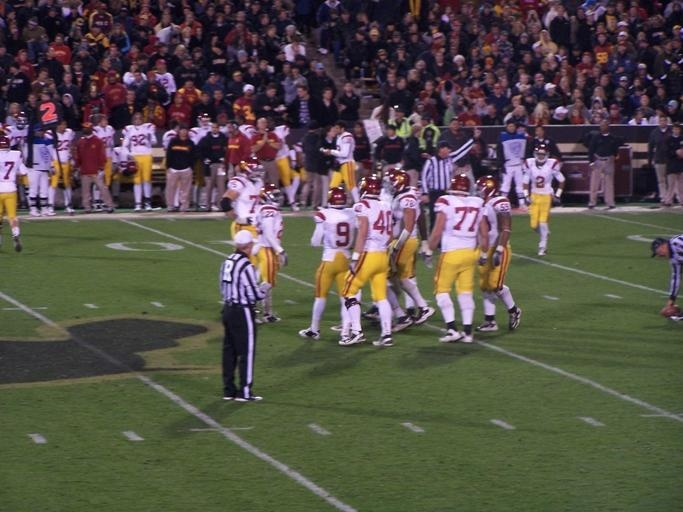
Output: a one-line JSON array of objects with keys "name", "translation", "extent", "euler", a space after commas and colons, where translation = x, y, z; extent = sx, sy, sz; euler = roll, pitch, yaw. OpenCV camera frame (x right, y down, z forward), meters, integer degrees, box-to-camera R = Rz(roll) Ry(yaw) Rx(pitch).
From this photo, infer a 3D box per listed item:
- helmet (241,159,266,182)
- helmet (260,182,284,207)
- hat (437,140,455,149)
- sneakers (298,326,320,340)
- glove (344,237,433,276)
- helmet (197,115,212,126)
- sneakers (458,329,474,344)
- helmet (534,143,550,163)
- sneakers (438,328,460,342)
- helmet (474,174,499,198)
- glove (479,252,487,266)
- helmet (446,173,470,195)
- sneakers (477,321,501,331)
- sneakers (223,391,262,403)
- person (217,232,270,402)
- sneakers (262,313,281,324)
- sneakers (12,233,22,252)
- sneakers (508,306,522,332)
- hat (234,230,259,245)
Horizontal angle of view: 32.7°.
[{"name": "helmet", "translation": [-1.218, -1.158, 15.626], "extent": [0.279, 0.314, 0.302], "euler": [0, 2, -5]}, {"name": "helmet", "translation": [-0.925, -0.803, 15.244], "extent": [0.441, 0.245, 0.310], "euler": [3, 9, 6]}, {"name": "hat", "translation": [1.732, -1.838, 19.136], "extent": [0.337, 0.109, 0.188], "euler": [2, 9, 3]}, {"name": "sneakers", "translation": [-0.447, 0.982, 14.845], "extent": [0.322, 0.150, 0.208], "euler": [0, 2, 14]}, {"name": "glove", "translation": [0.717, 0.002, 15.218], "extent": [0.672, 0.372, 0.226], "euler": [-24, 46, -14]}, {"name": "helmet", "translation": [-2.703, -2.647, 22.714], "extent": [0.300, 0.203, 0.277], "euler": [-6, 14, -43]}, {"name": "sneakers", "translation": [1.571, 1.013, 14.732], "extent": [0.156, 0.154, 0.149], "euler": [0, 2, 1]}, {"name": "helmet", "translation": [3.348, -1.714, 19.526], "extent": [0.243, 0.337, 0.423], "euler": [0, 2, 9]}, {"name": "sneakers", "translation": [1.369, 1.000, 14.764], "extent": [0.282, 0.178, 0.185], "euler": [0, 2, 15]}, {"name": "helmet", "translation": [1.941, -0.917, 15.176], "extent": [0.381, 0.281, 0.254], "euler": [-23, 8, 11]}, {"name": "glove", "translation": [1.795, 0.024, 14.880], "extent": [0.110, 0.157, 0.215], "euler": [0, 2, 7]}, {"name": "helmet", "translation": [1.505, -0.917, 14.794], "extent": [0.230, 0.247, 0.277], "euler": [0, 2, 4]}, {"name": "sneakers", "translation": [1.913, 0.924, 15.313], "extent": [0.364, 0.103, 0.106], "euler": [-2, 9, -13]}, {"name": "sneakers", "translation": [-1.093, 1.549, 12.776], "extent": [0.426, 0.106, 0.115], "euler": [0, 0, 3]}, {"name": "person", "translation": [-1.100, 0.652, 12.738], "extent": [0.481, 1.874, 0.492], "euler": [0, 2, -5]}, {"name": "sneakers", "translation": [-0.976, 0.821, 15.533], "extent": [0.288, 0.125, 0.081], "euler": [-4, 23, -11]}, {"name": "sneakers", "translation": [-5.146, -0.198, 18.157], "extent": [0.185, 0.301, 0.176], "euler": [-13, 19, -10]}, {"name": "sneakers", "translation": [2.304, 0.818, 15.276], "extent": [0.160, 0.303, 0.186], "euler": [12, 6, 30]}, {"name": "hat", "translation": [-1.072, -0.203, 12.831], "extent": [0.197, 0.093, 0.250], "euler": [9, 15, 36]}]
